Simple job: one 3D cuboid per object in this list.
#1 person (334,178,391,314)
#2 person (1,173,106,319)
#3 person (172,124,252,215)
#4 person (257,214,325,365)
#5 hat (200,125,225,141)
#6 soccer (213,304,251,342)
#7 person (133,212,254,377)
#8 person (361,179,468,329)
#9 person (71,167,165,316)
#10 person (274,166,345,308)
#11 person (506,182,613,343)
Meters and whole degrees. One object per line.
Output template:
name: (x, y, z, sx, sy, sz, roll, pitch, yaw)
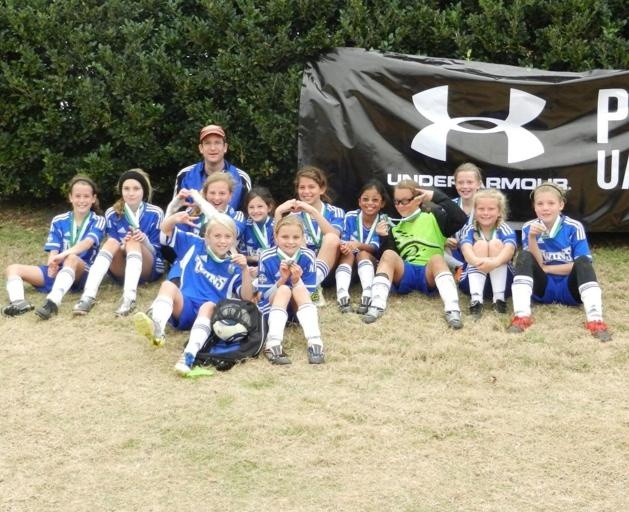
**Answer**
person: (0.402, -0.089, 8.961, 0.442, 0.862, 1.230, 5, 28, 7)
person: (-2.134, -0.066, 8.914, 0.661, 1.237, 1.281, 12, 12, 5)
person: (-0.936, -0.688, 9.422, 0.724, 0.991, 0.547, 3, -7, 2)
person: (-0.187, 0.236, 8.224, 0.473, 0.985, 1.235, 0, 14, -10)
hat: (-0.935, -1.126, 9.483, 0.219, 0.135, 0.297, -4, 14, -8)
soccer: (-0.628, 0.501, 7.932, 0.300, 0.285, 0.149, -3, 13, -5)
person: (-0.864, 0.235, 8.008, 0.788, 1.007, 1.471, 13, 12, -5)
person: (0.813, -0.069, 8.743, 0.908, 1.175, 1.349, -4, 9, -4)
person: (-1.634, -0.172, 8.852, 0.540, 1.050, 1.280, 2, 16, 4)
person: (-0.029, -0.140, 9.012, 0.581, 1.217, 0.806, -5, -6, 12)
person: (1.967, -0.002, 8.416, 0.691, 1.086, 1.286, -1, 11, 12)
